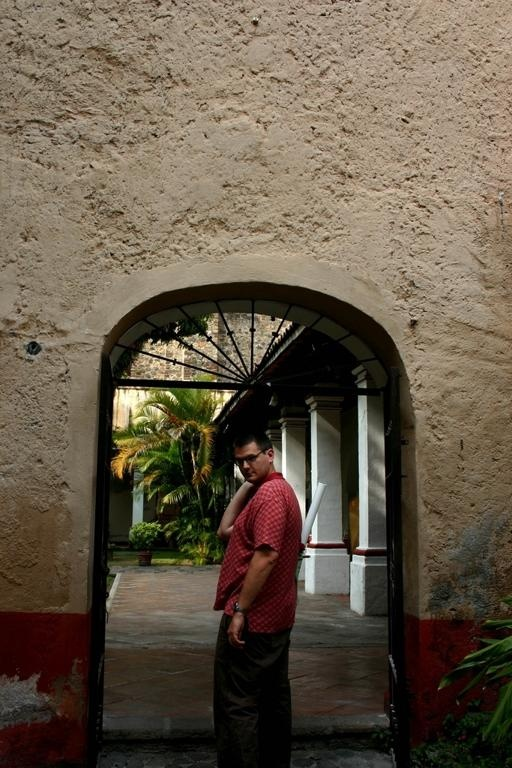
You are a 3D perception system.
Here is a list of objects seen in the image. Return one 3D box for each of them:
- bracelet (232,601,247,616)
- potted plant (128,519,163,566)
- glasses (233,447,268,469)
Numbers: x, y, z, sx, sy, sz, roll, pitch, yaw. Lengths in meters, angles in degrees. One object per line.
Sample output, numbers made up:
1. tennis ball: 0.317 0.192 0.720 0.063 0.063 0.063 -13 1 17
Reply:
1. bracelet: -0.067 0.937 3.048 0.065 0.064 0.046 -4 -10 18
2. potted plant: -2.564 3.973 18.332 0.910 1.091 0.828 3 -13 -19
3. glasses: -0.014 0.335 3.425 0.093 0.038 0.125 -25 0 17
